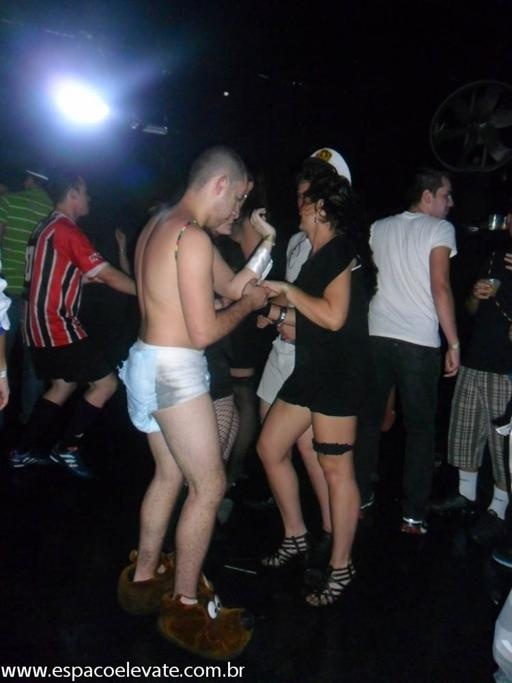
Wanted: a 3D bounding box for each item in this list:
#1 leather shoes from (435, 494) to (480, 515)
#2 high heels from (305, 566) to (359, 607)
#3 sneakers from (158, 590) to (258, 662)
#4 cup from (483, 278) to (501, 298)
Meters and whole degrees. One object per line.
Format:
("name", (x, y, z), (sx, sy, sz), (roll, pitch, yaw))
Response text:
("leather shoes", (1.045, 0.879, 2.932), (0.128, 0.063, 0.124), (-7, -3, -24))
("high heels", (0.312, 0.920, 2.172), (0.240, 0.091, 0.089), (-19, 15, -40))
("sneakers", (-0.153, 0.945, 1.861), (0.294, 0.142, 0.184), (22, 21, -20))
("cup", (1.146, -0.256, 2.682), (0.089, 0.101, 0.066), (0, -3, 8))
